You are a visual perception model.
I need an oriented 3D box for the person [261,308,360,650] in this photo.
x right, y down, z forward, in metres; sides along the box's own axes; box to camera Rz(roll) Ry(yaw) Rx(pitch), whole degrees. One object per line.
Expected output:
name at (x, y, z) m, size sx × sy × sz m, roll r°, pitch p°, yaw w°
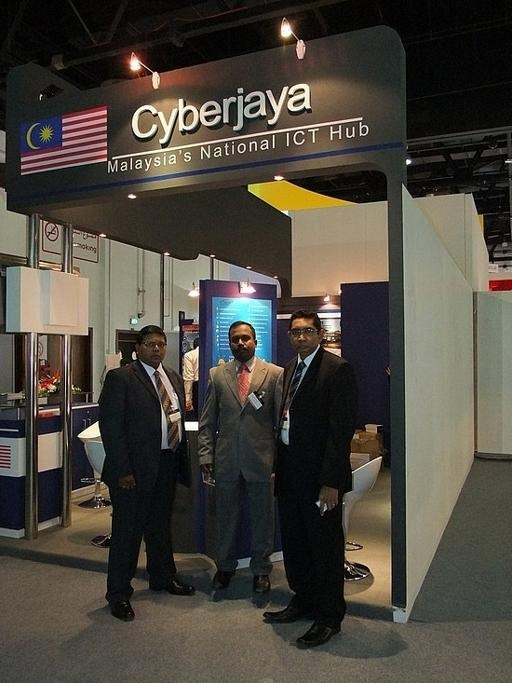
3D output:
person at (0.244, 0.582, 2.600) m, size 0.313 × 1.440 × 0.485 m, roll 0°, pitch 0°, yaw -28°

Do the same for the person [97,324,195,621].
person at (-0.560, 0.626, 2.956) m, size 0.314 × 1.417 × 0.540 m, roll 0°, pitch 0°, yaw 39°

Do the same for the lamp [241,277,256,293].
lamp at (-0.062, -0.418, 4.172) m, size 0.075 × 0.116 × 0.103 m, roll -1°, pitch 0°, yaw 32°

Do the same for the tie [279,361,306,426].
tie at (0.173, 0.246, 2.641) m, size 0.029 × 0.339 × 0.086 m, roll 16°, pitch -35°, yaw 4°

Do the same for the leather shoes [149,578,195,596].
leather shoes at (-0.440, 1.300, 3.069) m, size 0.258 × 0.117 × 0.094 m, roll -3°, pitch -11°, yaw 7°

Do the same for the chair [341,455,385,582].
chair at (0.502, 0.950, 3.166) m, size 0.309 × 0.632 × 0.275 m, roll -5°, pitch -12°, yaw 43°

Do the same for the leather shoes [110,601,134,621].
leather shoes at (-0.641, 1.283, 2.705) m, size 0.051 × 0.061 × 0.141 m, roll 13°, pitch -22°, yaw -38°
